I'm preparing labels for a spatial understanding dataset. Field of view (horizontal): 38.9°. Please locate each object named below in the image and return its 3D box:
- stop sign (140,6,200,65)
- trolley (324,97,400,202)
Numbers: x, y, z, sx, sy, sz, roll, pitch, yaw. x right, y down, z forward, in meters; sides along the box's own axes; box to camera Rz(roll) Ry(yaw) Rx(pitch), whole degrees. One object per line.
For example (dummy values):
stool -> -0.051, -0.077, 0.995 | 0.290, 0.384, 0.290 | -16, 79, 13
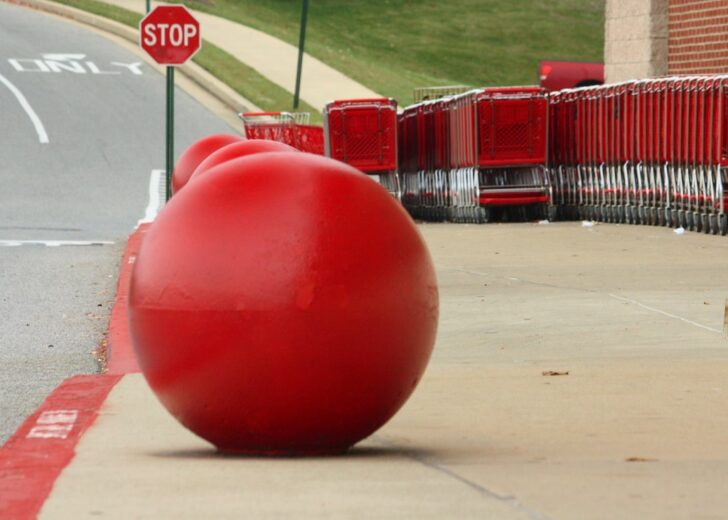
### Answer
stop sign -> -2.618, -3.036, 13.956 | 0.766, 0.761, 0.415 | -1, 10, -4
trolley -> 0.020, -2.794, 23.594 | 1.803, 2.617, 2.808 | -1, 14, 2
